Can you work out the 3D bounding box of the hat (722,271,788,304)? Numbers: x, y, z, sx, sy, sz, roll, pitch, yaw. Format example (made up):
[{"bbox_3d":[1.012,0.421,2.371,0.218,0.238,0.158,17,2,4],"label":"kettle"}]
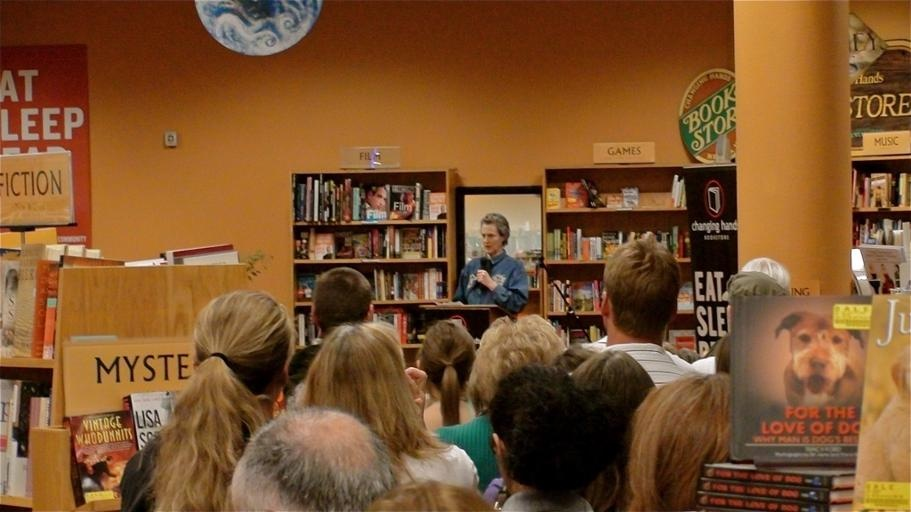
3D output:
[{"bbox_3d":[1.951,0.204,6.419,0.313,0.199,0.398,12,-15,-37],"label":"hat"}]

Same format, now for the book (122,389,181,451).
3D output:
[{"bbox_3d":[-1.980,1.046,6.326,0.415,0.356,0.098,-8,1,-20],"label":"book"}]

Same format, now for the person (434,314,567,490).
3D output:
[{"bbox_3d":[0.269,0.917,5.872,0.911,1.139,0.659,5,11,9],"label":"person"}]

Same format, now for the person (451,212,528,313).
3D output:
[{"bbox_3d":[0.400,0.090,9.838,0.578,1.007,0.764,-1,-2,-38],"label":"person"}]

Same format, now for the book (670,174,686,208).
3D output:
[{"bbox_3d":[2.454,-0.707,10.733,0.133,0.373,0.201,-2,-1,9],"label":"book"}]

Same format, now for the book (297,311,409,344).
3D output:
[{"bbox_3d":[-0.757,0.555,7.619,0.654,0.228,0.186,-1,-4,1],"label":"book"}]

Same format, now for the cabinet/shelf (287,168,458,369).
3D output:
[{"bbox_3d":[-0.786,0.076,9.413,2.300,2.524,0.757,-1,-2,3],"label":"cabinet/shelf"}]
